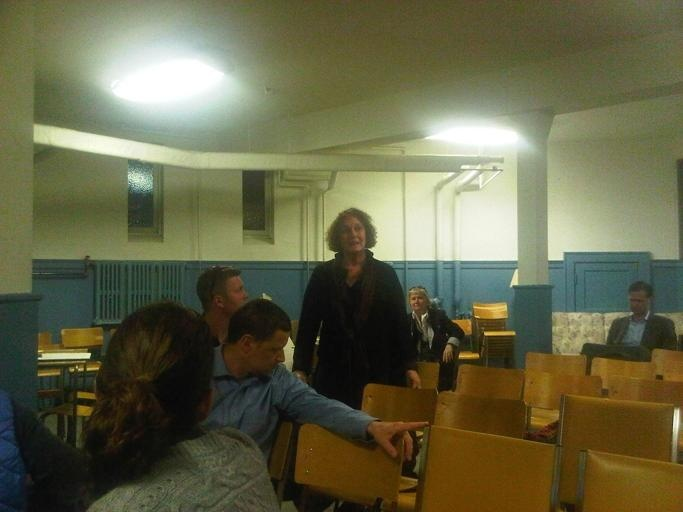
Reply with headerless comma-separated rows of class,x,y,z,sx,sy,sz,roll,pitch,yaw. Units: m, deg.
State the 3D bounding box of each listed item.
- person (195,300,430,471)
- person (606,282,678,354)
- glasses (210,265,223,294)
person,-0.155,0.758,3.480,1.074,1.103,0.357,-2,-7,-20
person,3.926,0.801,7.820,0.590,0.970,0.734,19,-18,-34
glasses,-0.831,0.161,4.064,0.120,0.166,0.162,2,-8,-16
